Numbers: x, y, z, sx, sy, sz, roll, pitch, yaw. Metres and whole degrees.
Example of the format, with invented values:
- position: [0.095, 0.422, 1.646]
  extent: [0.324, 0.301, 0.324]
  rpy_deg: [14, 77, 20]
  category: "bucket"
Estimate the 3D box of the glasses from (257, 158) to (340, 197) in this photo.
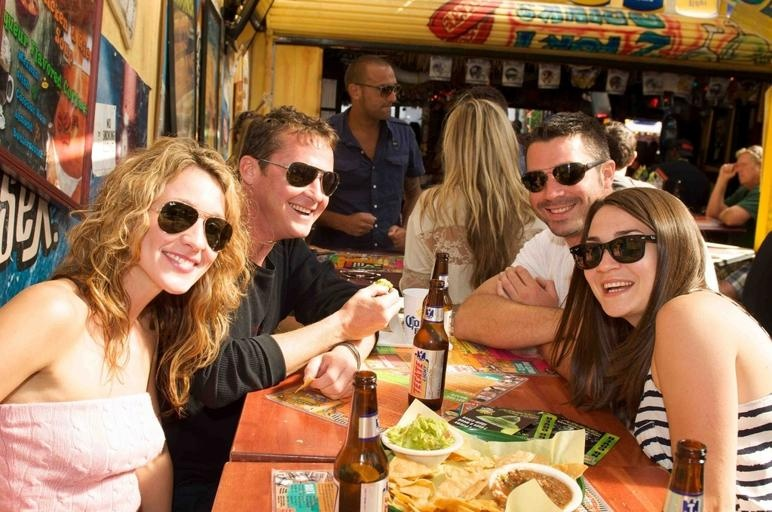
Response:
- position: [-0.369, -0.382, 2.649]
  extent: [0.212, 0.087, 0.267]
  rpy_deg: [11, 0, -36]
  category: "glasses"

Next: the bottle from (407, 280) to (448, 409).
- position: [0.161, 0.341, 2.087]
  extent: [0.140, 0.490, 0.189]
  rpy_deg: [2, 5, 3]
  category: "bottle"
